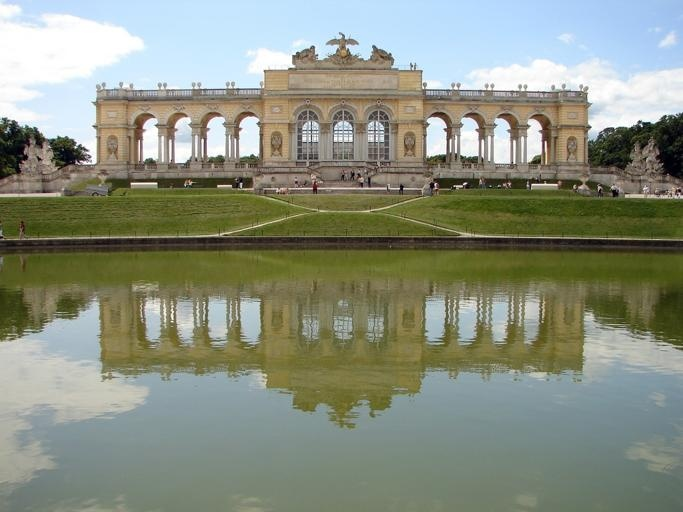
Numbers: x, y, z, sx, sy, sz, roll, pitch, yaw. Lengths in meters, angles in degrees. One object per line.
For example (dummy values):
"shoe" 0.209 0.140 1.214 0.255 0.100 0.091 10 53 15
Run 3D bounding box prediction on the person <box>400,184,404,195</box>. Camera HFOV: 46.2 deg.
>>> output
"person" 4.269 -4.791 57.149 0.226 0.661 0.889 -2 2 -6
